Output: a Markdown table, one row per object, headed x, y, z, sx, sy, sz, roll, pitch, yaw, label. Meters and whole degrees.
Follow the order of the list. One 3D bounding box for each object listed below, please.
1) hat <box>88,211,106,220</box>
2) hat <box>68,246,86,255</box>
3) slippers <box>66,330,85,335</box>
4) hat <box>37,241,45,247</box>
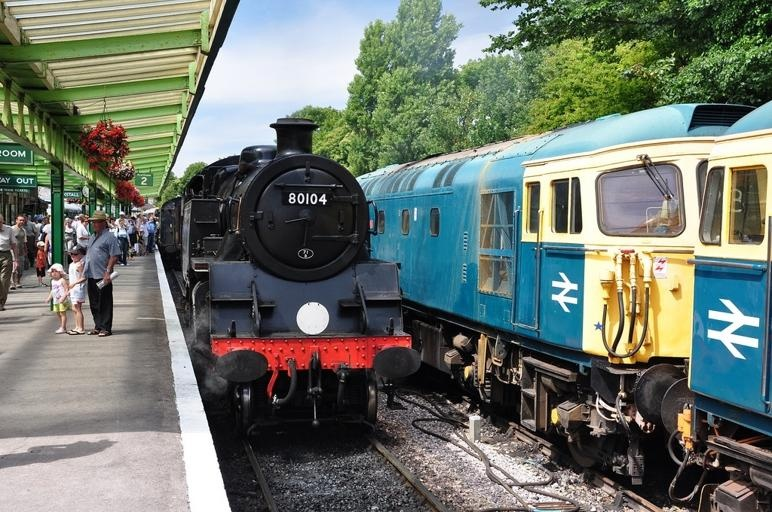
| x | y | z | sx | sy | sz | roll | pitch | yaw | label |
| --- | --- | --- | --- | --- | --- | --- | --- | --- | --- |
| -5.552 | -0.774 | 11.046 | 0.249 | 0.151 | 0.352 | -4 | 2 | -23 | hat |
| -6.366 | -0.115 | 11.821 | 0.353 | 0.195 | 0.254 | 7 | -7 | -30 | hat |
| -6.308 | 1.587 | 11.637 | 0.235 | 0.062 | 0.131 | 7 | -6 | -39 | slippers |
| -11.155 | -0.403 | 18.463 | 0.182 | 0.134 | 0.269 | 1 | -4 | -28 | hat |
